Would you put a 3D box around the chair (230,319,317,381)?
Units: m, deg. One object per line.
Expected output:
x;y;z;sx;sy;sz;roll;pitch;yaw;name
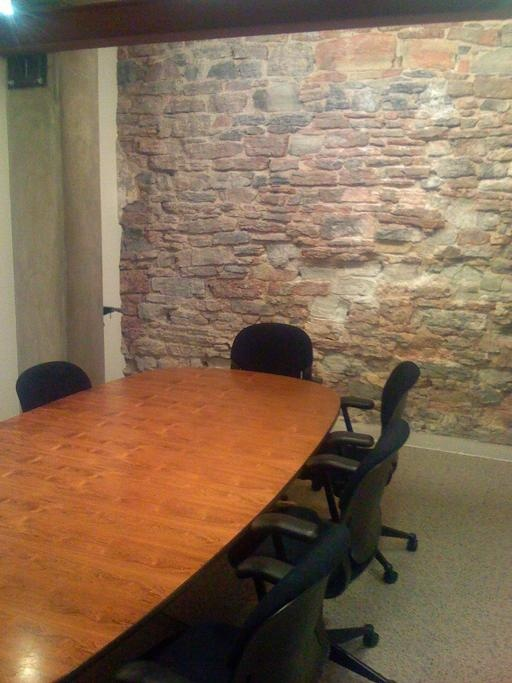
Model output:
0.112;0.005;3.125;0.376;0.411;0.356;2;14;11;chair

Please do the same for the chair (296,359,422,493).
0.504;0.388;2.493;0.543;0.768;0.537;9;17;17;chair

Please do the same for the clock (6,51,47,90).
-1.382;-1.627;3.243;0.294;0.187;0.077;5;12;15;clock
